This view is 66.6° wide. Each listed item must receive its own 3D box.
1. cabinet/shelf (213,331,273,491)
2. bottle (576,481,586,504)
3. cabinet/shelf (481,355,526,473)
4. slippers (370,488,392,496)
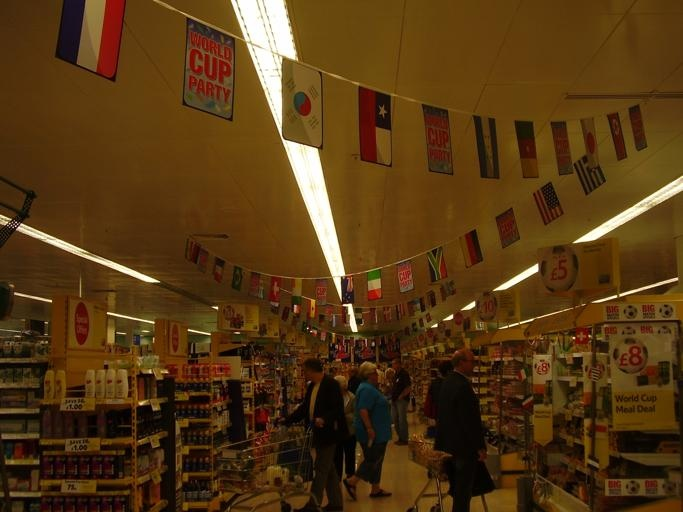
[{"bbox_3d":[-1.883,2.776,8.687,1.131,2.600,0.793,8,-26,-18],"label":"cabinet/shelf"},{"bbox_3d":[2.511,2.492,5.479,0.060,0.277,0.138,4,-11,6],"label":"bottle"},{"bbox_3d":[2.707,2.663,8.676,0.467,1.767,1.622,0,-11,3],"label":"cabinet/shelf"},{"bbox_3d":[0.602,3.646,8.040,0.325,0.160,0.136,0,-5,-1],"label":"slippers"}]
